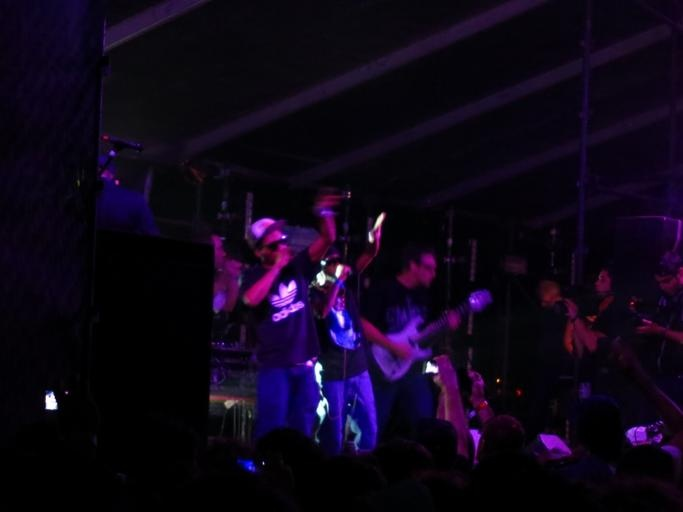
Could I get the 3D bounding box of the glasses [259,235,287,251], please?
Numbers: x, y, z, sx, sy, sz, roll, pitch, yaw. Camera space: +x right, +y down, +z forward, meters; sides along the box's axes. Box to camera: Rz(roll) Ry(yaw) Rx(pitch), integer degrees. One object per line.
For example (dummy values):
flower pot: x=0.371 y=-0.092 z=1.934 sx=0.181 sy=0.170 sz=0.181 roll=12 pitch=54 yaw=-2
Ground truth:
glasses: x=-0.488 y=-0.092 z=4.966 sx=0.226 sy=0.061 sz=0.054 roll=-27 pitch=3 yaw=-30
